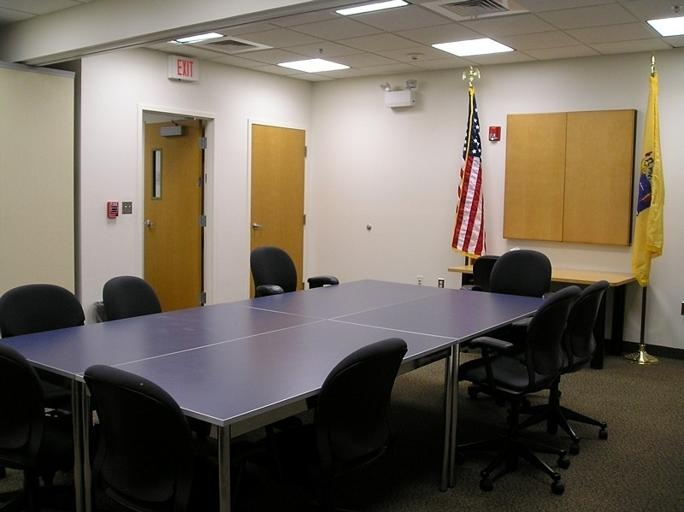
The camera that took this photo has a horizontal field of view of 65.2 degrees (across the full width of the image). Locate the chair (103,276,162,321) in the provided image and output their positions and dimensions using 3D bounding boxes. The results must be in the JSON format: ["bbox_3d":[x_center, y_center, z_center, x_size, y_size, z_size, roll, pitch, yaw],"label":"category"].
[{"bbox_3d":[-1.487,0.259,3.821,0.331,0.453,0.330,9,9,39],"label":"chair"}]

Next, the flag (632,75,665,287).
[{"bbox_3d":[3.203,-0.776,5.523,0.255,2.158,0.335,6,9,29],"label":"flag"}]

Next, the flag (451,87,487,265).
[{"bbox_3d":[1.600,-1.019,6.574,0.361,2.042,0.290,5,9,25],"label":"flag"}]

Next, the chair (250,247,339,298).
[{"bbox_3d":[-0.496,0.119,5.139,0.602,0.738,0.566,-2,1,42],"label":"chair"}]
